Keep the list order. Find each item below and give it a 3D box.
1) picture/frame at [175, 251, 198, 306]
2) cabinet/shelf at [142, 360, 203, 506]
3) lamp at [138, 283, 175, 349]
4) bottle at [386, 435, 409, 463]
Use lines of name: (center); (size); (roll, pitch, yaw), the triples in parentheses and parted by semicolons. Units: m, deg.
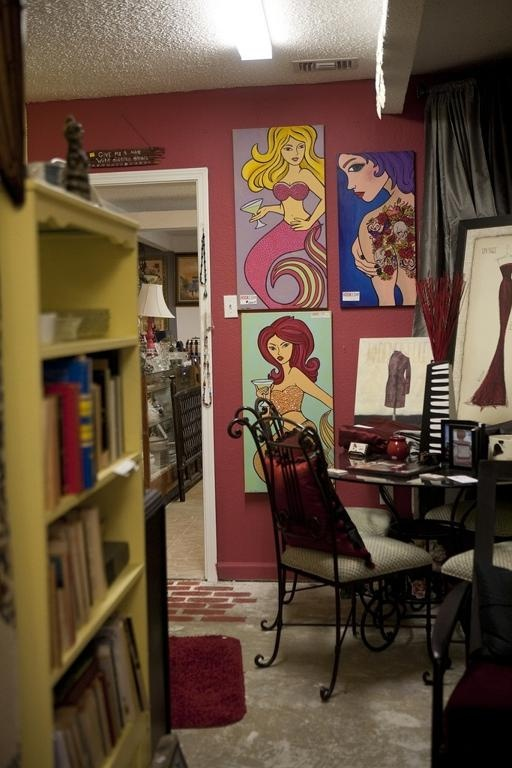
picture/frame: (-0.942, -1.462, 8.144); (0.382, 0.758, 0.031); (-1, -10, -5)
cabinet/shelf: (-0.679, 0.401, 4.646); (0.387, 1.171, 1.143); (-1, 3, 9)
lamp: (-0.890, -0.558, 4.872); (0.368, 0.534, 0.367); (3, 2, -32)
bottle: (0.606, 0.278, 2.463); (0.089, 0.114, 0.094); (1, -7, 0)
